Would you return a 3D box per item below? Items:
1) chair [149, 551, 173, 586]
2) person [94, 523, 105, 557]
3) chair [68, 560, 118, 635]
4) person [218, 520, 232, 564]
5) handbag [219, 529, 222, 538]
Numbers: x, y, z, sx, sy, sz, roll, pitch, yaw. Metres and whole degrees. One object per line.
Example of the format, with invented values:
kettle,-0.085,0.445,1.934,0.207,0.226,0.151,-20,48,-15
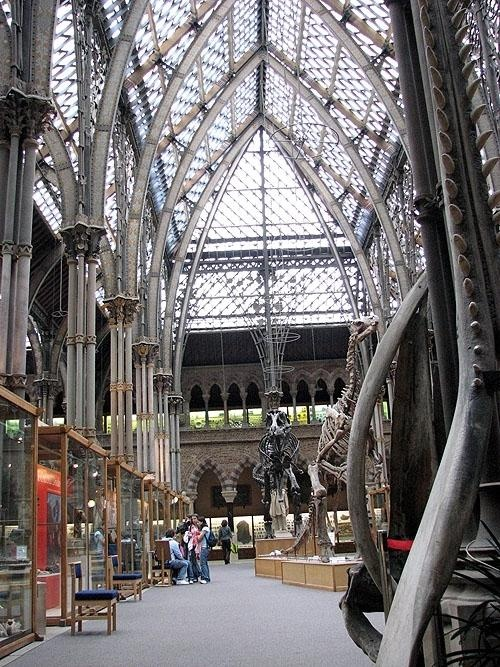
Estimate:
chair,-2.331,6.108,14.724,0.487,0.936,1.393,0,-13,-11
person,-2.452,3.400,9.203,0.143,0.432,0.832,0,-14,-11
chair,-1.944,3.266,6.989,0.469,0.873,0.580,-3,-15,-3
person,-1.074,9.263,25.228,0.458,2.027,0.502,-4,9,-1
handbag,-1.264,8.651,24.127,0.146,0.522,0.449,-1,-13,0
